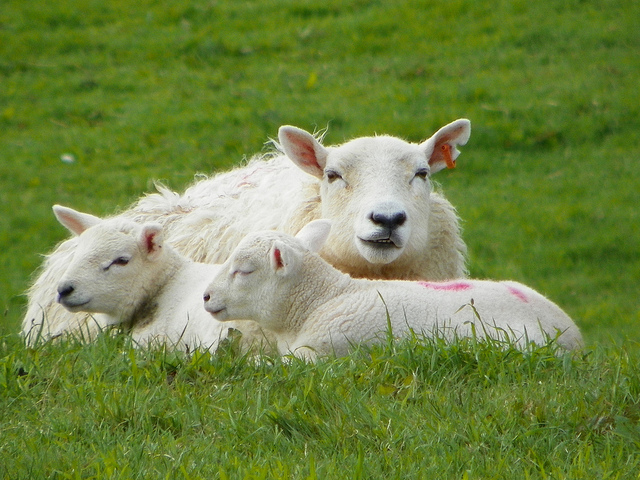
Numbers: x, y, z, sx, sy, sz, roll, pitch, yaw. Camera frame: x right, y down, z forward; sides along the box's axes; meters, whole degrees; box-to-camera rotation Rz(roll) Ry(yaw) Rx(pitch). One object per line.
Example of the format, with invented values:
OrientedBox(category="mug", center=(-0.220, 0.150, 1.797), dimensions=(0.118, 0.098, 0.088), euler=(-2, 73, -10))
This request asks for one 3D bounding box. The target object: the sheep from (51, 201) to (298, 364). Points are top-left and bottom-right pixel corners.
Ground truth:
OrientedBox(category="sheep", center=(-1.195, 0.447, 7.552), dimensions=(1.856, 1.123, 0.972), euler=(15, 0, -12))

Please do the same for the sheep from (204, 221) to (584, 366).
OrientedBox(category="sheep", center=(0.487, 0.439, 7.459), dimensions=(2.621, 1.410, 1.086), euler=(7, -1, 13))
